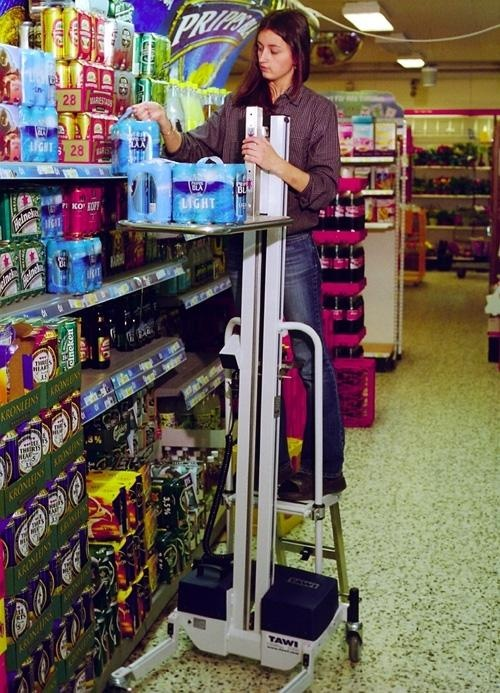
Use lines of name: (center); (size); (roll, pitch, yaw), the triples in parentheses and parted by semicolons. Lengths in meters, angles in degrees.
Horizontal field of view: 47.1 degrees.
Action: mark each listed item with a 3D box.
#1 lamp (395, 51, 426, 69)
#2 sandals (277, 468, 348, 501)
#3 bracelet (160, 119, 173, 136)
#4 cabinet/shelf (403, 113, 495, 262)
lamp: (3.369, -6.014, 11.998); (0.596, 0.207, 0.881); (4, 5, 21)
sandals: (0.214, 0.471, 1.956); (0.227, 0.091, 0.090); (1, 2, -22)
bracelet: (-0.222, -0.593, 1.544); (0.029, 0.035, 0.037); (-4, -26, -6)
cabinet/shelf: (4.599, -3.702, 13.098); (1.835, 3.740, 1.358); (1, 6, 15)
